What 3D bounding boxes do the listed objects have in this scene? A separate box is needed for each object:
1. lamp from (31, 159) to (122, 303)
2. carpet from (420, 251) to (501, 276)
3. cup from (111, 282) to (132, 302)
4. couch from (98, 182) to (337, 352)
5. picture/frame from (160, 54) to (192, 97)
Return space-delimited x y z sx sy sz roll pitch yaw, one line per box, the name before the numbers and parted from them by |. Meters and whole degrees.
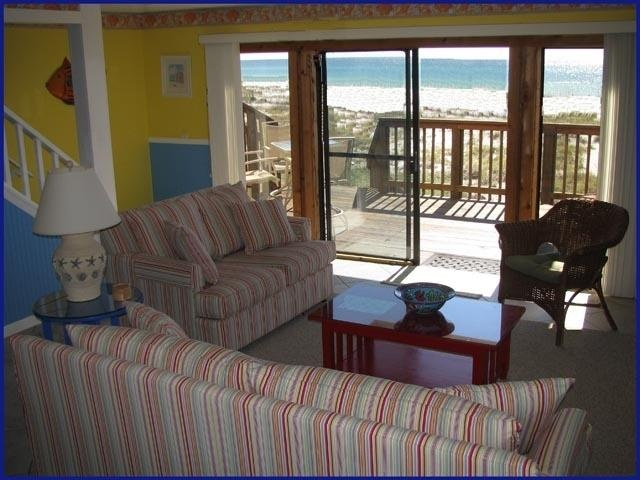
lamp | -1.529 -0.024 3.193 0.422 0.867 0.380 3 12 18
carpet | 1.553 0.258 5.581 0.809 0.086 0.476 4 12 24
cup | -1.313 0.336 3.329 0.119 0.086 0.115 1 1 0
couch | -0.791 0.149 4.188 1.307 1.091 1.875 7 16 27
picture/frame | -1.708 -1.966 5.997 0.468 0.502 0.032 12 22 24
